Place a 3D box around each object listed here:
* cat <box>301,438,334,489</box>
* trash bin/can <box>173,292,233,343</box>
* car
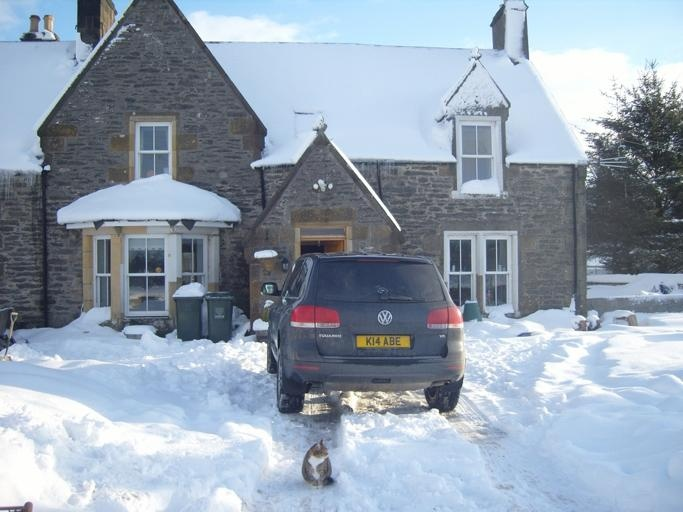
[{"bbox_3d":[-0.487,3.658,15.792,0.565,0.801,0.821,5,-6,-23],"label":"cat"},{"bbox_3d":[-3.470,1.498,22.488,1.386,1.251,1.057,-1,-1,-4],"label":"trash bin/can"},{"bbox_3d":[0.503,1.498,17.239,3.585,3.113,1.309,-1,-2,-1],"label":"car"}]
